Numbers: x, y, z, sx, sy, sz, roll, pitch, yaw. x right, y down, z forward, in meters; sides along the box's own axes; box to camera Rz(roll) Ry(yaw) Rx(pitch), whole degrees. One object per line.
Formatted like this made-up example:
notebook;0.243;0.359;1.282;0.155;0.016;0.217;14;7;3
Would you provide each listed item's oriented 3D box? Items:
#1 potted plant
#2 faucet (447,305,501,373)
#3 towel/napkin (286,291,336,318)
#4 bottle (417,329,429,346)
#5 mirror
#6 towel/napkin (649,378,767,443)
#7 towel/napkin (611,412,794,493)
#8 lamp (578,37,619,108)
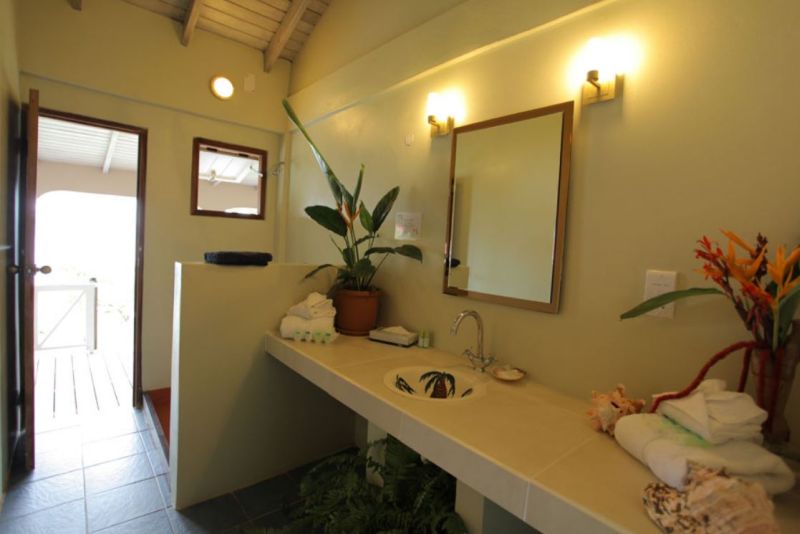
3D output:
potted plant;-0.381;-0.298;3.721;0.677;1.512;1.151;-4;5;-32
faucet;0.392;0.440;3.114;0.238;0.379;0.286;-4;9;-29
towel/napkin;-0.603;0.220;3.533;0.198;0.074;0.207;5;8;32
bottle;0.149;0.464;3.461;0.081;0.109;0.063;-1;5;-2
mirror;0.615;-0.342;3.131;0.772;1.150;0.154;3;6;42
towel/napkin;1.346;0.623;2.474;0.534;0.201;0.551;-8;-9;13
towel/napkin;1.313;0.693;2.247;0.389;0.148;0.405;-2;6;-24
lamp;1.027;-0.990;2.758;0.188;0.276;0.138;-5;15;13
